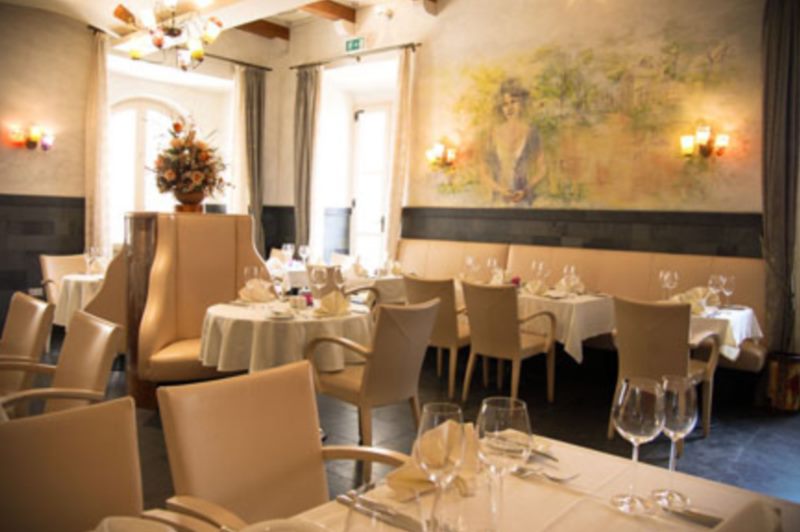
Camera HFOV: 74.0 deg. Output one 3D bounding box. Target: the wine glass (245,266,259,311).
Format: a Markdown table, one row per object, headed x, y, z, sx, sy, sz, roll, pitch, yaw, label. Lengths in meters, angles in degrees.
| x | y | z | sx | sy | sz | roll | pitch | yaw | label |
| --- | --- | --- | --- | --- | --- | --- | --- | --- | --- |
| -1.247 | 0.159 | 4.428 | 0.122 | 0.285 | 0.252 | 0 | 3 | -16 | wine glass |

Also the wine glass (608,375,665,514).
| x | y | z | sx | sy | sz | roll | pitch | yaw | label |
| --- | --- | --- | --- | --- | --- | --- | --- | --- | --- |
| 0.822 | 0.588 | 1.841 | 0.158 | 0.420 | 0.275 | 2 | 3 | 23 | wine glass |

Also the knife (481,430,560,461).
| x | y | z | sx | sy | sz | roll | pitch | yaw | label |
| --- | --- | --- | --- | --- | --- | --- | --- | --- | --- |
| 0.486 | 0.692 | 2.084 | 0.255 | 0.039 | 0.176 | 11 | 7 | 39 | knife |

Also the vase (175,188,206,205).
| x | y | z | sx | sy | sz | roll | pitch | yaw | label |
| --- | --- | --- | --- | --- | --- | --- | --- | --- | --- |
| -1.958 | -0.644 | 4.982 | 0.177 | 0.107 | 0.181 | 6 | 11 | 30 | vase |

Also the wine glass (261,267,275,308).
| x | y | z | sx | sy | sz | roll | pitch | yaw | label |
| --- | --- | --- | --- | --- | --- | --- | --- | --- | --- |
| -1.154 | 0.154 | 4.655 | 0.150 | 0.281 | 0.508 | 0 | 2 | -15 | wine glass |

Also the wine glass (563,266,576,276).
| x | y | z | sx | sy | sz | roll | pitch | yaw | label |
| --- | --- | --- | --- | --- | --- | --- | --- | --- | --- |
| 1.932 | 0.058 | 6.066 | 0.112 | 0.112 | 0.115 | 2 | 3 | 17 | wine glass |

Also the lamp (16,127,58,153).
| x | y | z | sx | sy | sz | roll | pitch | yaw | label |
| --- | --- | --- | --- | --- | --- | --- | --- | --- | --- |
| -5.117 | -1.751 | 7.405 | 0.521 | 0.328 | 0.164 | -1 | 3 | -38 | lamp |

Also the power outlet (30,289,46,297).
| x | y | z | sx | sy | sz | roll | pitch | yaw | label |
| --- | --- | --- | --- | --- | --- | --- | --- | --- | --- |
| -5.141 | 0.376 | 7.474 | 0.098 | 0.070 | 0.099 | 1 | -4 | 3 | power outlet |

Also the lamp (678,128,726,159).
| x | y | z | sx | sy | sz | roll | pitch | yaw | label |
| --- | --- | --- | --- | --- | --- | --- | --- | --- | --- |
| 3.352 | -1.336 | 5.858 | 0.461 | 0.317 | 0.106 | 2 | 3 | 38 | lamp |

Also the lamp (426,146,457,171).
| x | y | z | sx | sy | sz | roll | pitch | yaw | label |
| --- | --- | --- | --- | --- | --- | --- | --- | --- | --- |
| 0.587 | -1.587 | 7.745 | 0.455 | 0.374 | 0.179 | 2 | 3 | 40 | lamp |
